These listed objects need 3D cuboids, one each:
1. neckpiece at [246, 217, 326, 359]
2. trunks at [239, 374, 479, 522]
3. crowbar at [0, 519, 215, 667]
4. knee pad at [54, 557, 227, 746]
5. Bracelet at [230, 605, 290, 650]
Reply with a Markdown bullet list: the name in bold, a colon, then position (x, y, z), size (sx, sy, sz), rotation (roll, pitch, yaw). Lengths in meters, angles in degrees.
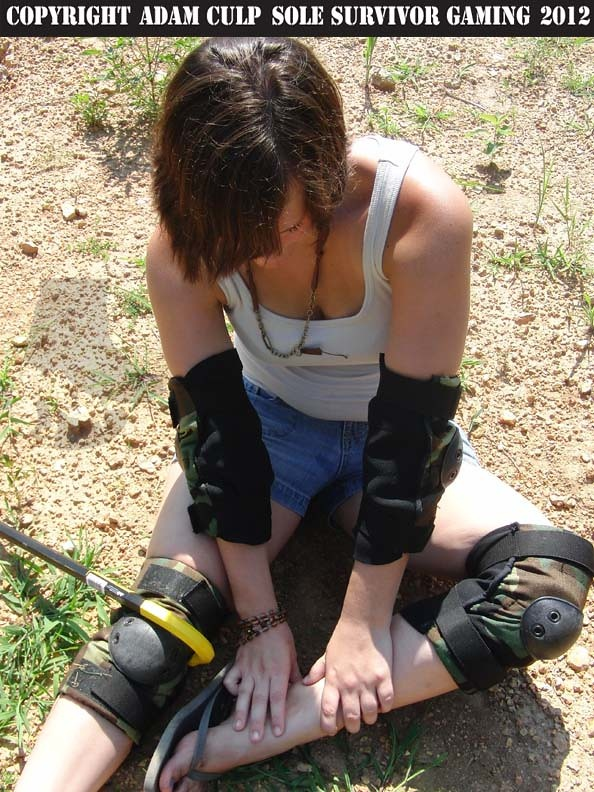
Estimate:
- **neckpiece**: position (-0.024, -0.196, 1.353), size (0.160, 0.049, 0.338), rotation (-17, 45, 18)
- **trunks**: position (0.038, 0.126, 1.528), size (0.350, 0.329, 0.142), rotation (2, -3, 8)
- **crowbar**: position (-0.391, 0.415, 1.443), size (0.139, 0.049, 0.441), rotation (-31, 51, -29)
- **knee pad**: position (-0.282, 0.479, 1.345), size (0.214, 0.350, 0.156), rotation (41, 9, 22)
- **Bracelet**: position (-0.066, 0.437, 1.326), size (0.079, 0.033, 0.064), rotation (-26, -5, 30)
